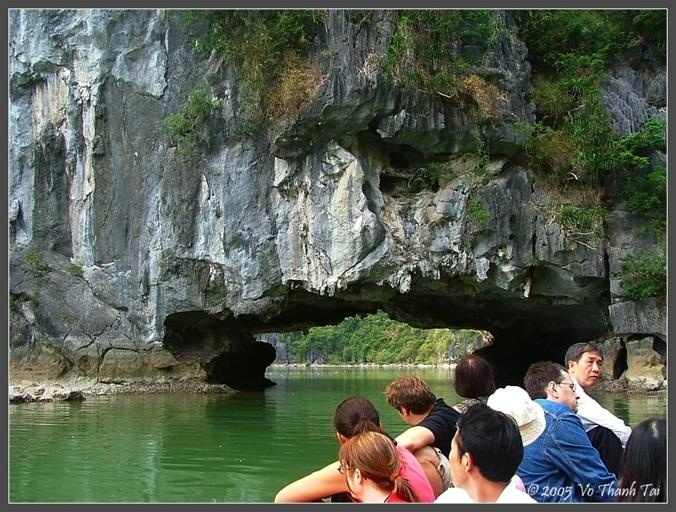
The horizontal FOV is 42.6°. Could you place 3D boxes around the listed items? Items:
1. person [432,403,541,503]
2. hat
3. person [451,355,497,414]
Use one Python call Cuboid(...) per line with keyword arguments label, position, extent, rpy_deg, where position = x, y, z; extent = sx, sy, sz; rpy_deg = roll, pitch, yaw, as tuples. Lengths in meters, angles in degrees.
Cuboid(label="person", position=(1.783, 2.445, 11.049), extent=(1.315, 1.376, 1.031), rpy_deg=(1, 8, -19))
Cuboid(label="hat", position=(2.372, 2.028, 11.211), extent=(0.707, 0.845, 0.258), rpy_deg=(-36, -23, 13))
Cuboid(label="person", position=(1.915, 1.817, 12.212), extent=(0.621, 0.845, 0.401), rpy_deg=(-6, 15, -4))
